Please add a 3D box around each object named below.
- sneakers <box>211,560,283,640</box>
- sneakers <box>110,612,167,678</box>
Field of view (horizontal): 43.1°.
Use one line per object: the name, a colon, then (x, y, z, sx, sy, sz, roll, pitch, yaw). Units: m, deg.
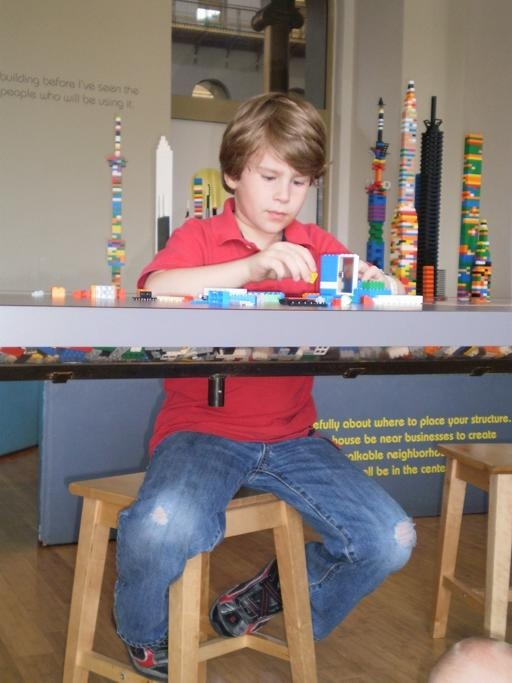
sneakers: (0.003, 0.402, 1.014, 0.159, 0.070, 0.053, -22, -6, -37)
sneakers: (-0.168, 0.416, 0.924, 0.046, 0.054, 0.125, 5, 8, -28)
